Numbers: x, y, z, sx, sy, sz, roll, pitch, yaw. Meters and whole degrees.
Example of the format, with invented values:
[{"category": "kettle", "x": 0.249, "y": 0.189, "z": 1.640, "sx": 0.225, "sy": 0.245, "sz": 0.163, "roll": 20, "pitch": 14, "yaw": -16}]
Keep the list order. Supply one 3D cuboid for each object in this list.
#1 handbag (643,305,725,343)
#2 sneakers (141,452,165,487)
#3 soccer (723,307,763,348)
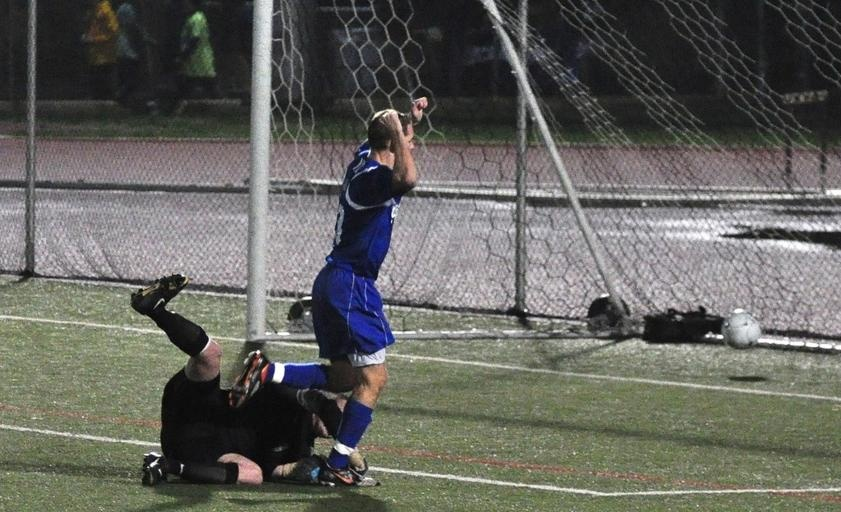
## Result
[{"category": "handbag", "x": 3.885, "y": 1.017, "z": 21.886, "sx": 0.823, "sy": 0.295, "sz": 0.622, "roll": 0, "pitch": 1, "yaw": 29}, {"category": "sneakers", "x": -3.437, "y": 2.633, "z": 19.191, "sx": 0.280, "sy": 0.331, "sz": 0.281, "roll": 3, "pitch": 23, "yaw": -11}, {"category": "soccer", "x": 4.799, "y": 1.125, "z": 21.717, "sx": 0.448, "sy": 0.406, "sz": 0.440, "roll": -8, "pitch": -10, "yaw": -3}]
